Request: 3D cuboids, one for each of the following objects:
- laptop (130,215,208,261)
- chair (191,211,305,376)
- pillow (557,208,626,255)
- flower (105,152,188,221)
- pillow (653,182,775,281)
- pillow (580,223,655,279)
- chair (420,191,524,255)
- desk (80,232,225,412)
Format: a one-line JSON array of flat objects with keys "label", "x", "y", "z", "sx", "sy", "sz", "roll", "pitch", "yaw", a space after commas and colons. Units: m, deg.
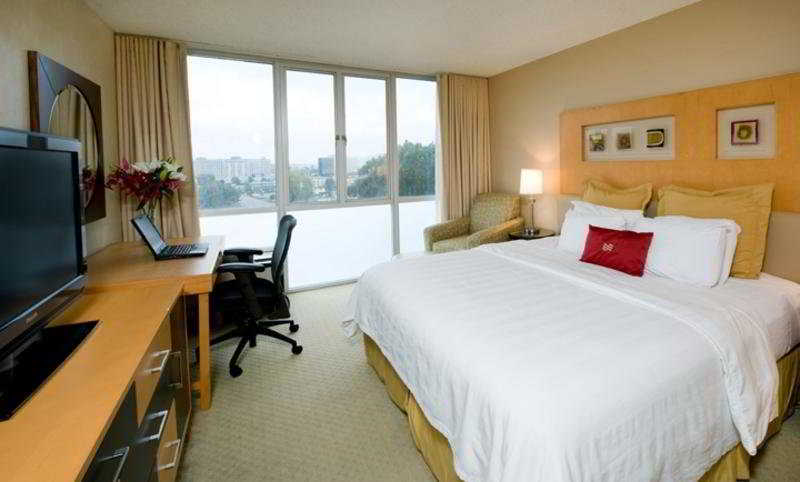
[{"label": "laptop", "x": -2.070, "y": 0.018, "z": 4.498, "sx": 0.532, "sy": 0.344, "sz": 0.546, "roll": -4, "pitch": 10, "yaw": -13}, {"label": "chair", "x": -1.406, "y": 0.443, "z": 4.859, "sx": 0.863, "sy": 1.330, "sz": 1.030, "roll": -1, "pitch": 10, "yaw": -15}, {"label": "pillow", "x": 1.826, "y": -0.067, "z": 4.924, "sx": 0.140, "sy": 0.425, "sz": 0.468, "roll": 19, "pitch": -5, "yaw": -29}, {"label": "flower", "x": -2.542, "y": -0.457, "z": 5.063, "sx": 0.682, "sy": 0.684, "sz": 0.643, "roll": 14, "pitch": 17, "yaw": 26}, {"label": "pillow", "x": 2.724, "y": -0.068, "z": 4.432, "sx": 0.982, "sy": 0.825, "sz": 0.350, "roll": 6, "pitch": 15, "yaw": 15}, {"label": "pillow", "x": 1.944, "y": 0.101, "z": 4.420, "sx": 0.167, "sy": 0.413, "sz": 0.540, "roll": 24, "pitch": -1, "yaw": -37}, {"label": "chair", "x": 0.959, "y": -0.040, "z": 6.517, "sx": 1.067, "sy": 1.065, "sz": 0.813, "roll": -13, "pitch": 20, "yaw": -43}, {"label": "desk", "x": -1.841, "y": 0.598, "z": 3.687, "sx": 0.701, "sy": 0.688, "sz": 1.430, "roll": -1, "pitch": 7, "yaw": -12}]
